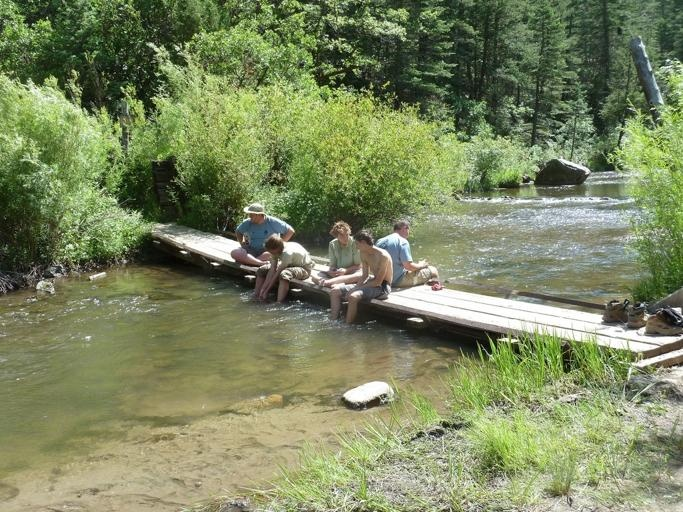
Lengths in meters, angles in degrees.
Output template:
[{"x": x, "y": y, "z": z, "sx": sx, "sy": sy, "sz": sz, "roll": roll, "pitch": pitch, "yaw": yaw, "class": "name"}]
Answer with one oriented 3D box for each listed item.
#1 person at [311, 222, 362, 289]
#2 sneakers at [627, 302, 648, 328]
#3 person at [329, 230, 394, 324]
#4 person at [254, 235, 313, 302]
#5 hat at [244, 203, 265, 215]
[{"x": -0.038, "y": -0.003, "z": 11.203, "sx": 1.037, "sy": 1.049, "sz": 1.224, "roll": 2, "pitch": 10, "yaw": 29, "class": "person"}, {"x": 3.973, "y": 0.828, "z": 8.223, "sx": 0.232, "sy": 0.293, "sz": 0.189, "roll": 3, "pitch": 15, "yaw": 20, "class": "sneakers"}, {"x": 0.335, "y": 0.306, "z": 10.421, "sx": 1.035, "sy": 1.586, "sz": 0.731, "roll": -1, "pitch": 15, "yaw": 6, "class": "person"}, {"x": -1.117, "y": 0.246, "z": 12.087, "sx": 1.133, "sy": 1.126, "sz": 0.920, "roll": -14, "pitch": 18, "yaw": -42, "class": "person"}, {"x": -1.836, "y": -0.990, "z": 13.052, "sx": 0.333, "sy": 0.206, "sz": 0.342, "roll": -1, "pitch": 13, "yaw": 4, "class": "hat"}]
